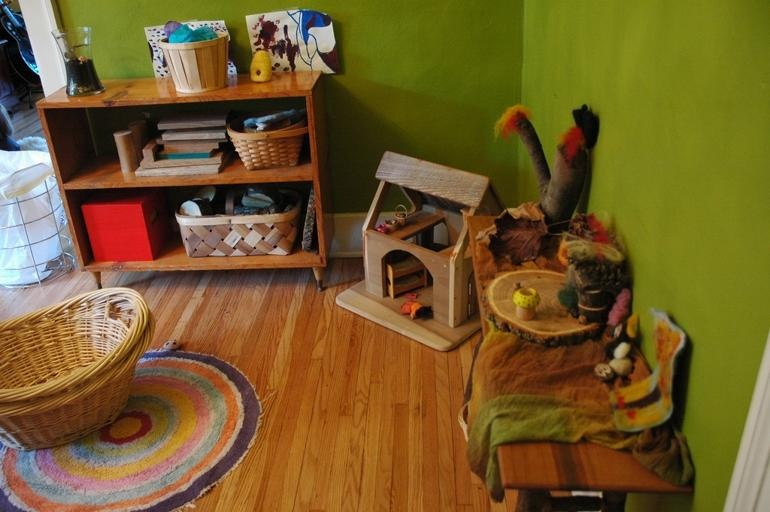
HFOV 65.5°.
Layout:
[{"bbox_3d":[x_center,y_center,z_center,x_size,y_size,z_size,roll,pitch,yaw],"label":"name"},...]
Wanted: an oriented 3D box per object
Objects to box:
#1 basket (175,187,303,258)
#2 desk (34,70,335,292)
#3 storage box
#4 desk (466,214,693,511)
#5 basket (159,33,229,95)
[{"bbox_3d":[-0.712,-0.185,3.014,0.505,0.195,0.367,-1,28,-2],"label":"basket"},{"bbox_3d":[-0.959,-0.385,2.927,1.101,0.852,0.431,-1,31,1],"label":"desk"},{"bbox_3d":[-1.276,-0.191,3.079,0.346,0.323,0.345,-1,27,-2],"label":"storage box"},{"bbox_3d":[0.481,0.370,1.784,0.458,0.352,0.804,-3,34,-5],"label":"desk"},{"bbox_3d":[-0.844,-0.837,2.726,0.286,0.206,0.281,-3,30,0],"label":"basket"}]
